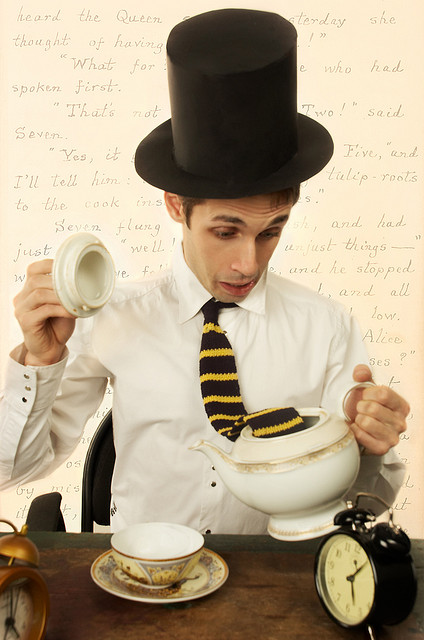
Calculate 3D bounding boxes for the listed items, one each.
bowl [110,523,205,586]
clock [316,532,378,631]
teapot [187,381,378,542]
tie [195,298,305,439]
[{"bbox_3d":[-0.094,0.389,1.075,0.113,0.044,0.114,0,-1,0],"label":"bowl"},{"bbox_3d":[0.217,0.417,0.976,0.056,0.141,0.135,6,-19,-24],"label":"clock"},{"bbox_3d":[0.159,0.258,1.115,0.353,0.228,0.220,-9,-1,-5],"label":"teapot"},{"bbox_3d":[0.050,0.110,1.333,0.185,0.339,0.045,-2,-34,-19],"label":"tie"}]
